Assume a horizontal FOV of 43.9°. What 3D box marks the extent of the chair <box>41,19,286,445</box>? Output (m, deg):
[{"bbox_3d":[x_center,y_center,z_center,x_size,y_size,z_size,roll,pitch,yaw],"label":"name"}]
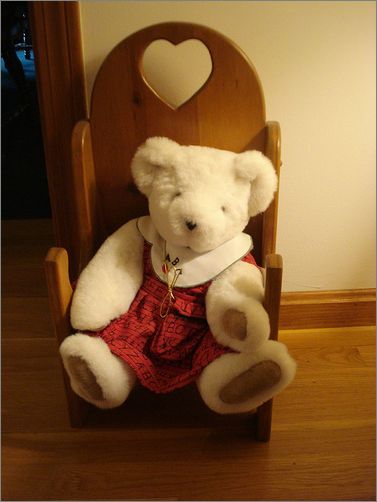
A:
[{"bbox_3d":[-0.088,-0.056,1.149,0.609,0.860,0.631,2,37,4],"label":"chair"}]
